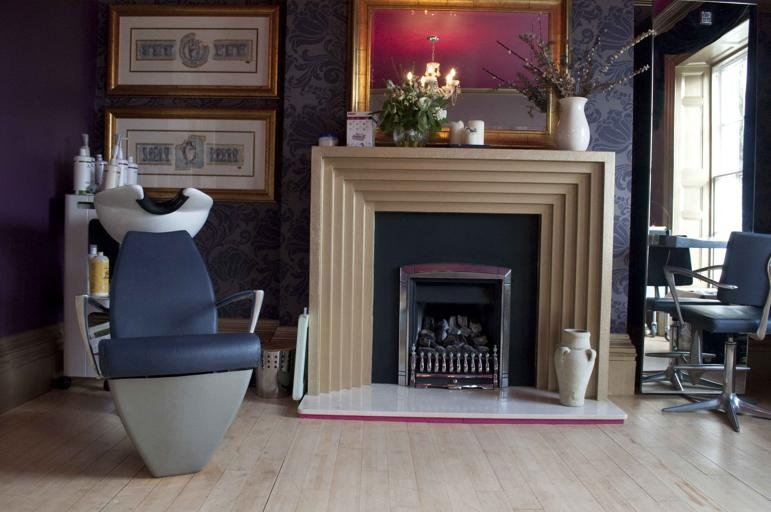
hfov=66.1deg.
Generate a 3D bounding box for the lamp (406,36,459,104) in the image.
[{"bbox_3d":[0.328,-1.336,4.184,0.322,0.378,0.315,4,27,7],"label":"lamp"}]

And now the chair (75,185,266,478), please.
[{"bbox_3d":[-1.334,0.343,3.790,1.097,1.810,1.636,1,-1,-19],"label":"chair"}]

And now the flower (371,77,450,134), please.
[{"bbox_3d":[0.212,-1.029,4.110,0.444,0.398,0.452,-2,12,33],"label":"flower"}]

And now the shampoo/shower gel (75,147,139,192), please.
[{"bbox_3d":[-1.954,-0.601,4.136,0.398,0.369,0.148,2,-7,-14],"label":"shampoo/shower gel"}]

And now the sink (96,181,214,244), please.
[{"bbox_3d":[-1.464,-0.273,3.683,0.462,0.223,0.478,1,-2,14],"label":"sink"}]

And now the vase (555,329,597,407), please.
[{"bbox_3d":[1.243,0.738,3.910,0.250,0.461,0.121,1,1,13],"label":"vase"}]

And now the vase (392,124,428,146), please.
[{"bbox_3d":[0.167,-0.819,4.023,0.152,0.120,0.156,0,6,-3],"label":"vase"}]
